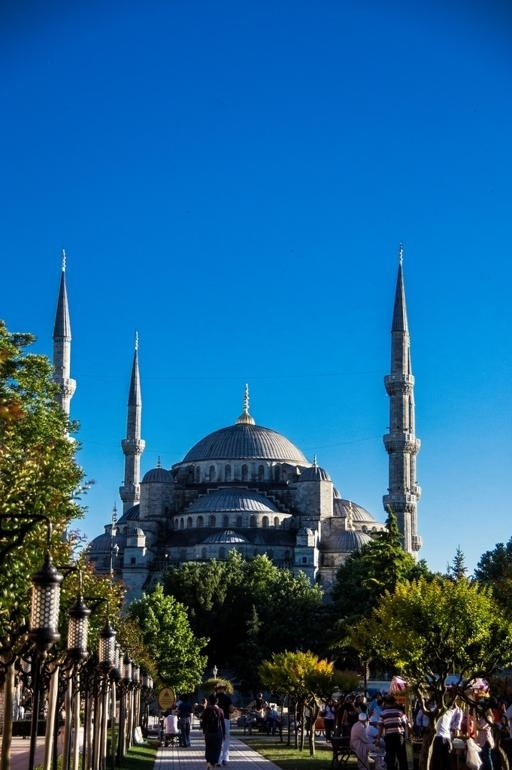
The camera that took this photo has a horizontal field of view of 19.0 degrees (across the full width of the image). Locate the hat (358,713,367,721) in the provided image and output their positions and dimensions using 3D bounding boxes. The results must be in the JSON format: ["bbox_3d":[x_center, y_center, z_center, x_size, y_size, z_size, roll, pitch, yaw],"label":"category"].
[{"bbox_3d":[1.690,5.439,24.741,0.121,0.163,0.155,4,4,11],"label":"hat"}]
